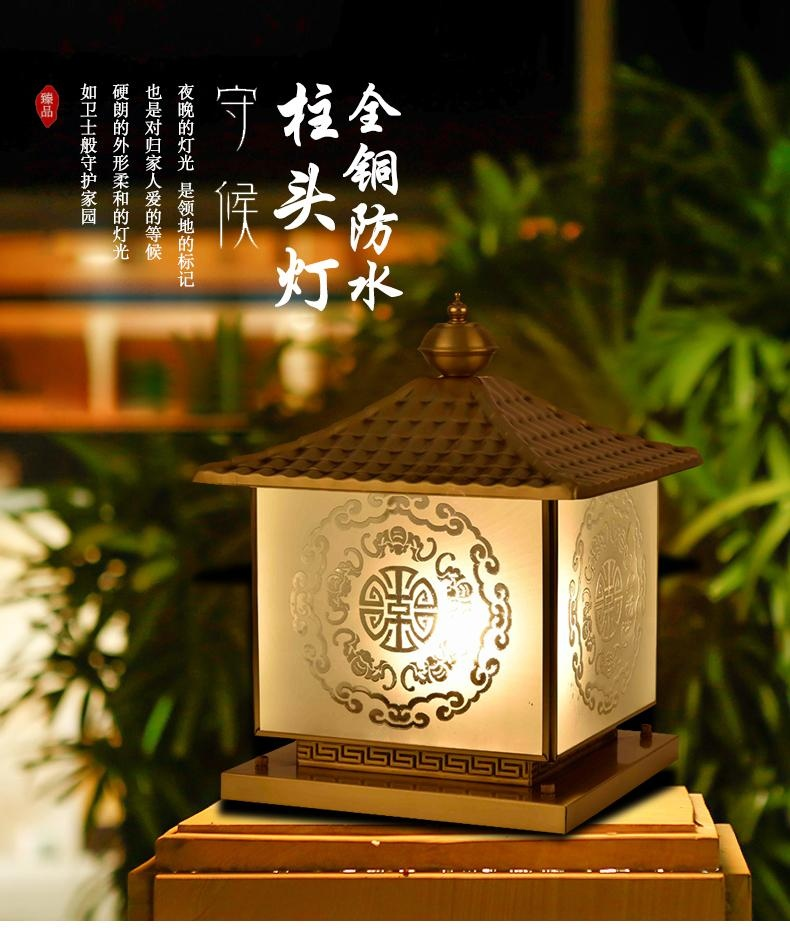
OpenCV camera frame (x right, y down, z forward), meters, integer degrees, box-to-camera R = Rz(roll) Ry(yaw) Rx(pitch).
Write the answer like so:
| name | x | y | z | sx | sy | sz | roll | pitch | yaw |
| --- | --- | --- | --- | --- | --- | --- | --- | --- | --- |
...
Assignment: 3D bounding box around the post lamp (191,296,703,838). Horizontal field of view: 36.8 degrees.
| name | x | y | z | sx | sy | sz | roll | pitch | yaw |
| --- | --- | --- | --- | --- | --- | --- | --- | --- | --- |
| post lamp | 0.200 | 0.135 | 1.912 | 0.832 | 0.725 | 0.817 | -4 | 1 | -40 |
